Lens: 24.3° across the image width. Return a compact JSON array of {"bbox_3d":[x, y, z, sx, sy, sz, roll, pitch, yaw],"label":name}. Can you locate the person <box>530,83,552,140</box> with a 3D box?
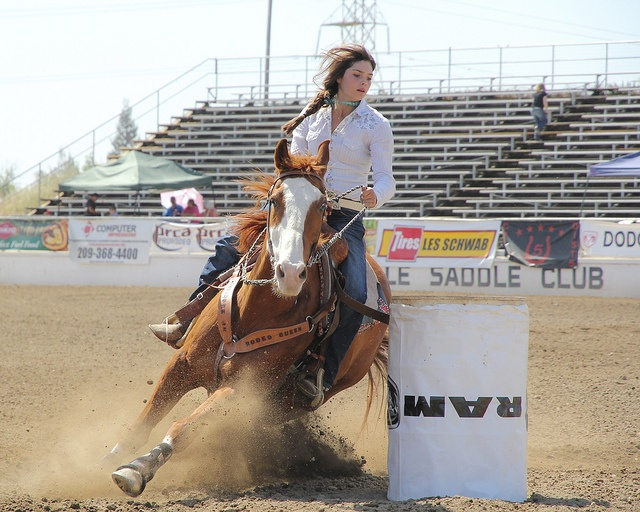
[{"bbox_3d":[6.087,-4.058,41.222,0.469,1.576,1.590,3,5,8],"label":"person"}]
